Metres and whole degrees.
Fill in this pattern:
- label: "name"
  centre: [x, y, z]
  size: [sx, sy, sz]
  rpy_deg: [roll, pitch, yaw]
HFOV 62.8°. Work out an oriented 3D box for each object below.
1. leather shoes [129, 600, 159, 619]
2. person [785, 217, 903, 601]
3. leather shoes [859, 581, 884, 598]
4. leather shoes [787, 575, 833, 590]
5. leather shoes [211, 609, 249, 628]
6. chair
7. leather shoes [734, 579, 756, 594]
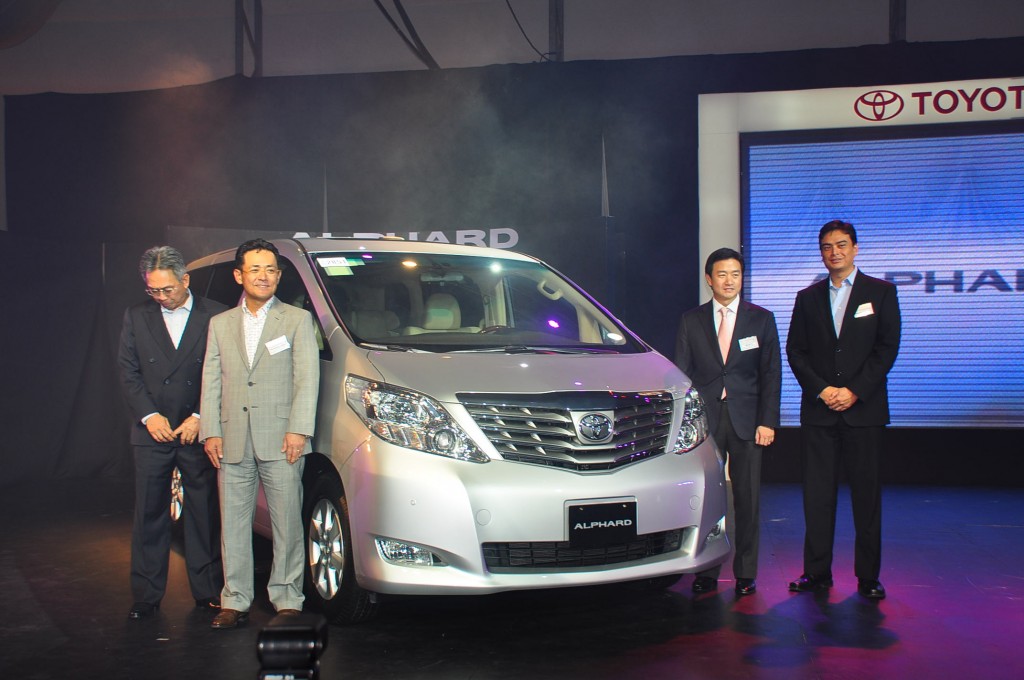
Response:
- label: "leather shoes"
  centre: [-2.587, 1.898, 5.929]
  size: [0.085, 0.086, 0.202]
  rpy_deg: [8, -11, 14]
- label: "person"
  centre: [2.465, 0.493, 6.282]
  size: [0.783, 2.739, 0.459]
  rpy_deg: [1, 4, 18]
- label: "leather shoes"
  centre: [2.626, 1.825, 6.119]
  size: [0.184, 0.080, 0.083]
  rpy_deg: [-7, 10, -13]
- label: "leather shoes"
  centre: [2.245, 1.834, 6.332]
  size: [0.308, 0.141, 0.130]
  rpy_deg: [2, -1, -17]
- label: "leather shoes"
  centre: [-1.907, 1.875, 5.695]
  size: [0.216, 0.092, 0.103]
  rpy_deg: [11, -11, -40]
- label: "chair"
  centre: [-0.840, -0.293, 6.322]
  size: [0.652, 0.501, 1.060]
  rpy_deg: [-3, 5, -29]
- label: "leather shoes"
  centre: [1.736, 1.837, 6.262]
  size: [0.076, 0.103, 0.149]
  rpy_deg: [-2, -12, 22]
